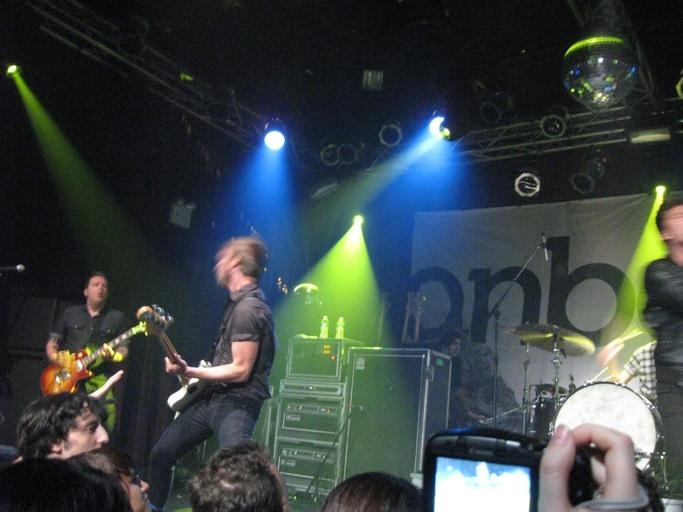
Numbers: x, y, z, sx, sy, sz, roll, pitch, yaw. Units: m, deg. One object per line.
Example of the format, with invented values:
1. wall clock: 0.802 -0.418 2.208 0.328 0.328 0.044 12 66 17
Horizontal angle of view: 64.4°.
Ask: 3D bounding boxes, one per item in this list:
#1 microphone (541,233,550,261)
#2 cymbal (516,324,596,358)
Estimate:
1. microphone: 2.498 -0.105 6.589 0.091 0.351 0.132 -11 9 -36
2. cymbal: 2.174 0.859 5.569 0.749 0.244 0.605 -2 -23 15
